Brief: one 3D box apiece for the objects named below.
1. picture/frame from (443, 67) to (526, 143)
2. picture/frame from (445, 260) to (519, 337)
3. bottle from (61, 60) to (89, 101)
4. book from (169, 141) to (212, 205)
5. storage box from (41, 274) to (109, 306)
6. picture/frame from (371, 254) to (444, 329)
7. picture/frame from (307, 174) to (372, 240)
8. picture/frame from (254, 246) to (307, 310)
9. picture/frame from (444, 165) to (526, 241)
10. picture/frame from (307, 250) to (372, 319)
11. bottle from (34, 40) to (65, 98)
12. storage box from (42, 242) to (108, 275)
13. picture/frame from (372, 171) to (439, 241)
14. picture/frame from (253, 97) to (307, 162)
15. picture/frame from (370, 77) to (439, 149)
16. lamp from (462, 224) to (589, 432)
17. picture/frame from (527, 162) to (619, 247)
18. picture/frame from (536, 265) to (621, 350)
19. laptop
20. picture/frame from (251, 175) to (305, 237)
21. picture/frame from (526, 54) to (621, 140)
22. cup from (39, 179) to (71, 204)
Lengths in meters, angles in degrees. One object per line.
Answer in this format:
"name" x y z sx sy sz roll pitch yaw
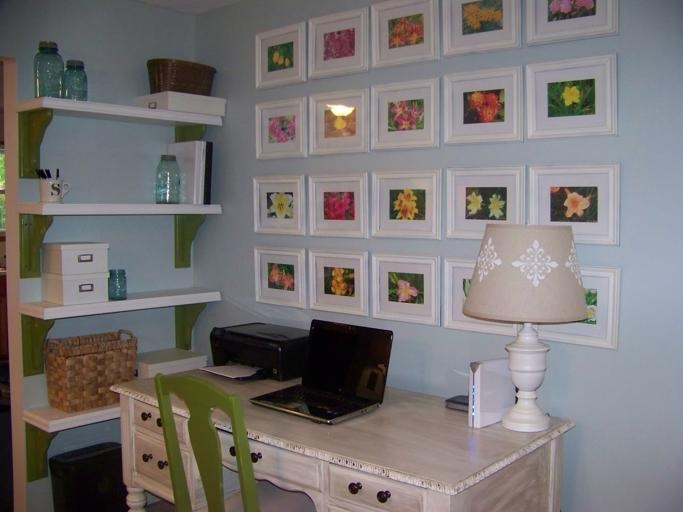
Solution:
"picture/frame" 0.610 -0.635 2.302 0.329 0.303 0.029 1 1 37
"picture/frame" 0.552 0.162 2.137 0.021 0.280 0.300 -1 3 -44
"bottle" -1.336 -0.885 2.782 0.090 0.210 0.089 -3 9 0
"book" -0.849 -0.466 3.134 0.319 0.394 0.131 7 10 41
"storage box" -1.383 0.138 2.855 0.193 0.128 0.198 1 2 39
"picture/frame" 0.315 0.156 2.526 0.323 0.327 0.023 1 1 40
"picture/frame" 0.005 -0.248 2.723 0.313 0.293 0.023 2 2 40
"picture/frame" -0.314 0.107 2.964 0.316 0.320 0.023 3 4 38
"picture/frame" 0.604 -0.226 2.276 0.306 0.309 0.022 4 8 35
"picture/frame" 0.005 0.134 2.735 0.322 0.298 0.026 1 0 39
"bottle" -1.464 -0.915 2.738 0.186 0.269 0.132 4 11 35
"storage box" -1.296 0.024 2.944 0.267 0.161 0.278 -3 -3 9
"picture/frame" 0.306 -0.234 2.516 0.300 0.299 0.021 3 2 41
"picture/frame" -0.318 -0.676 2.941 0.324 0.302 0.023 4 7 32
"picture/frame" 0.299 -0.652 2.504 0.337 0.315 0.024 2 1 39
"lamp" 0.717 0.263 2.135 0.440 0.812 0.464 -5 6 -31
"picture/frame" 0.894 -0.197 2.098 0.299 0.320 0.021 6 5 40
"picture/frame" 0.877 0.176 2.022 0.305 0.327 0.021 -1 -2 38
"laptop" -0.083 0.469 2.312 0.477 0.309 0.422 0 0 41
"picture/frame" -0.327 -0.276 2.964 0.328 0.303 0.023 -4 7 -40
"picture/frame" 0.904 -0.614 2.118 0.346 0.310 0.027 1 3 40
"cup" -1.429 -0.320 2.788 0.135 0.119 0.108 5 -6 -39
